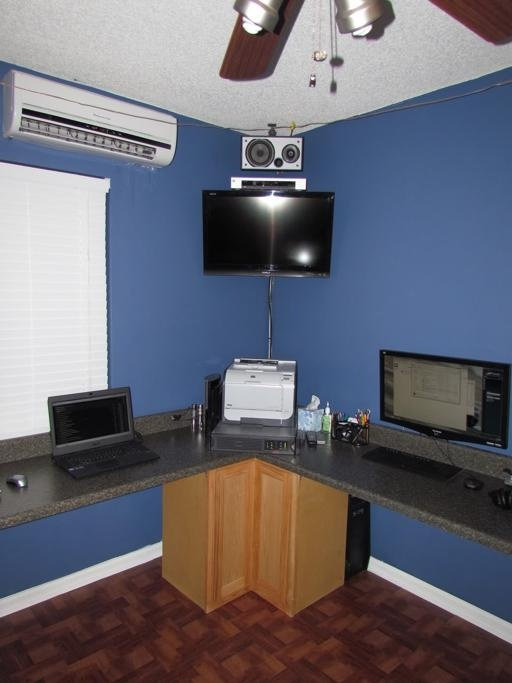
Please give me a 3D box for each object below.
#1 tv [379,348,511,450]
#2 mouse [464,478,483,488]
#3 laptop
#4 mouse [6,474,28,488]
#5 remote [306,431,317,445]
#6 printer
[{"bbox_3d":[0.862,0.246,2.385,0.034,0.331,0.457,-7,10,-43],"label":"tv"},{"bbox_3d":[0.877,0.575,2.162,0.045,0.016,0.044,13,22,39],"label":"mouse"},{"bbox_3d":[-0.718,0.352,2.442,0.421,0.318,0.346,1,2,-40],"label":"laptop"},{"bbox_3d":[-0.949,0.547,2.099,0.085,0.046,0.051,0,9,-2],"label":"mouse"},{"bbox_3d":[0.282,0.497,2.749,0.041,0.019,0.083,2,14,5],"label":"remote"},{"bbox_3d":[0.035,0.255,2.778,0.306,0.236,0.313,1,4,9],"label":"printer"}]
